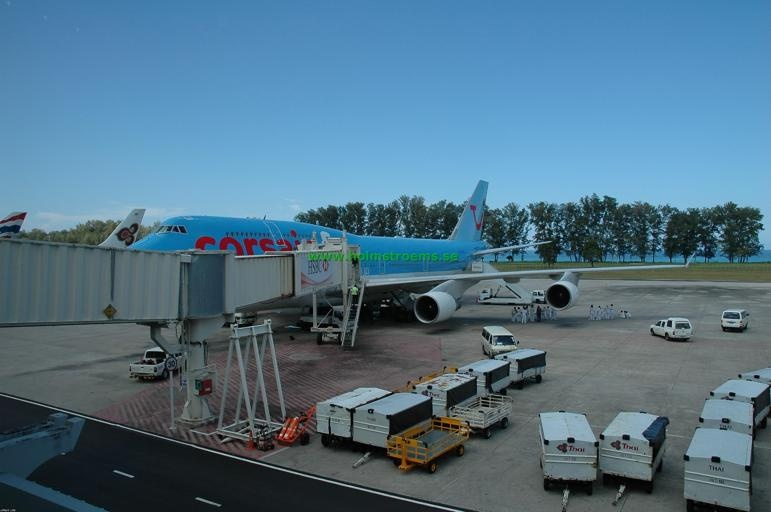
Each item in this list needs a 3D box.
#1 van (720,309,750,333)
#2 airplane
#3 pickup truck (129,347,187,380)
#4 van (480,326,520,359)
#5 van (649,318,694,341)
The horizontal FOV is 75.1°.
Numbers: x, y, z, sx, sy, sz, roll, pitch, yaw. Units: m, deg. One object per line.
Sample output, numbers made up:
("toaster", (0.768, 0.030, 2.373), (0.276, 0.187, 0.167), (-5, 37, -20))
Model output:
("van", (24.869, 4.356, 35.506), (1.443, 1.099, 2.595), (6, 20, 39))
("airplane", (1.172, -0.071, 35.845), (33.510, 11.075, 21.827), (-4, 8, -31))
("pickup truck", (-11.368, 5.136, 25.165), (1.669, 0.929, 2.775), (4, 7, 8))
("van", (6.164, 4.639, 27.386), (1.282, 0.966, 2.030), (-2, -1, -11))
("van", (18.611, 4.662, 32.387), (1.312, 1.341, 2.100), (-2, 7, -11))
